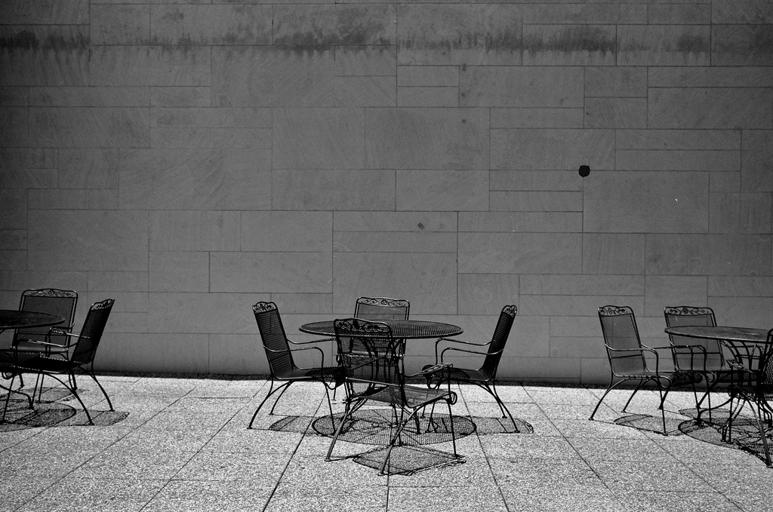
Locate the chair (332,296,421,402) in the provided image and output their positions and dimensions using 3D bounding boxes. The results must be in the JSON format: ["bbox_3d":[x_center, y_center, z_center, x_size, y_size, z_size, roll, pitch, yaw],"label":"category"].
[{"bbox_3d":[-0.041,0.802,9.436,0.636,1.210,0.714,4,43,7],"label":"chair"}]

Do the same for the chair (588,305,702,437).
[{"bbox_3d":[2.809,1.113,8.674,0.813,1.317,1.008,-6,-5,-37],"label":"chair"}]

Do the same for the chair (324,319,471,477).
[{"bbox_3d":[-0.137,1.292,8.125,1.353,1.829,1.221,1,-1,-44],"label":"chair"}]

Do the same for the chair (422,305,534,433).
[{"bbox_3d":[0.858,1.144,8.511,0.835,1.178,0.750,0,1,0],"label":"chair"}]

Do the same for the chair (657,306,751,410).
[{"bbox_3d":[3.447,0.896,9.174,0.575,0.692,0.985,-13,-4,15],"label":"chair"}]

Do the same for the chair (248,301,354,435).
[{"bbox_3d":[-0.851,1.133,8.456,0.890,1.291,0.872,-1,1,16],"label":"chair"}]
